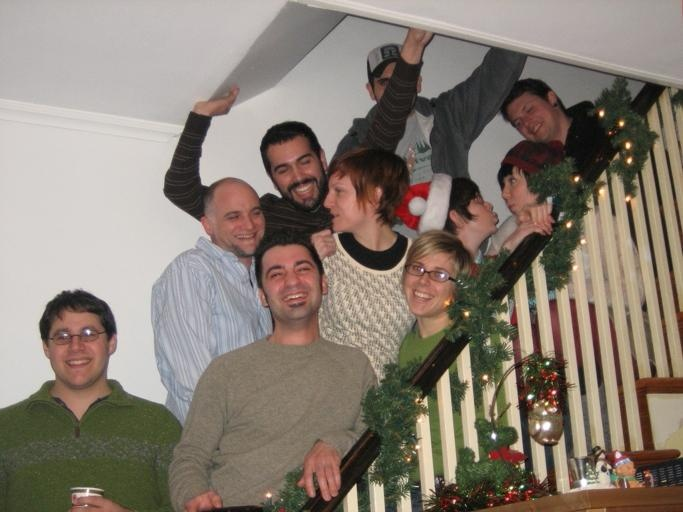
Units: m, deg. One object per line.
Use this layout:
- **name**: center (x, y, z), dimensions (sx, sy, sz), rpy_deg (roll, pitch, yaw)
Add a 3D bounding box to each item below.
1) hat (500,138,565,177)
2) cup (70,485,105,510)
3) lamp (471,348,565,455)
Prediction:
- **hat**: center (1.241, -0.648, 4.662), dimensions (0.375, 0.301, 0.148), rpy_deg (-16, -54, 15)
- **cup**: center (-1.108, 1.039, 3.133), dimensions (0.130, 0.104, 0.206), rpy_deg (2, -24, -22)
- **lamp**: center (0.761, 0.620, 3.000), dimensions (0.353, 0.422, 0.228), rpy_deg (-3, -25, 1)
